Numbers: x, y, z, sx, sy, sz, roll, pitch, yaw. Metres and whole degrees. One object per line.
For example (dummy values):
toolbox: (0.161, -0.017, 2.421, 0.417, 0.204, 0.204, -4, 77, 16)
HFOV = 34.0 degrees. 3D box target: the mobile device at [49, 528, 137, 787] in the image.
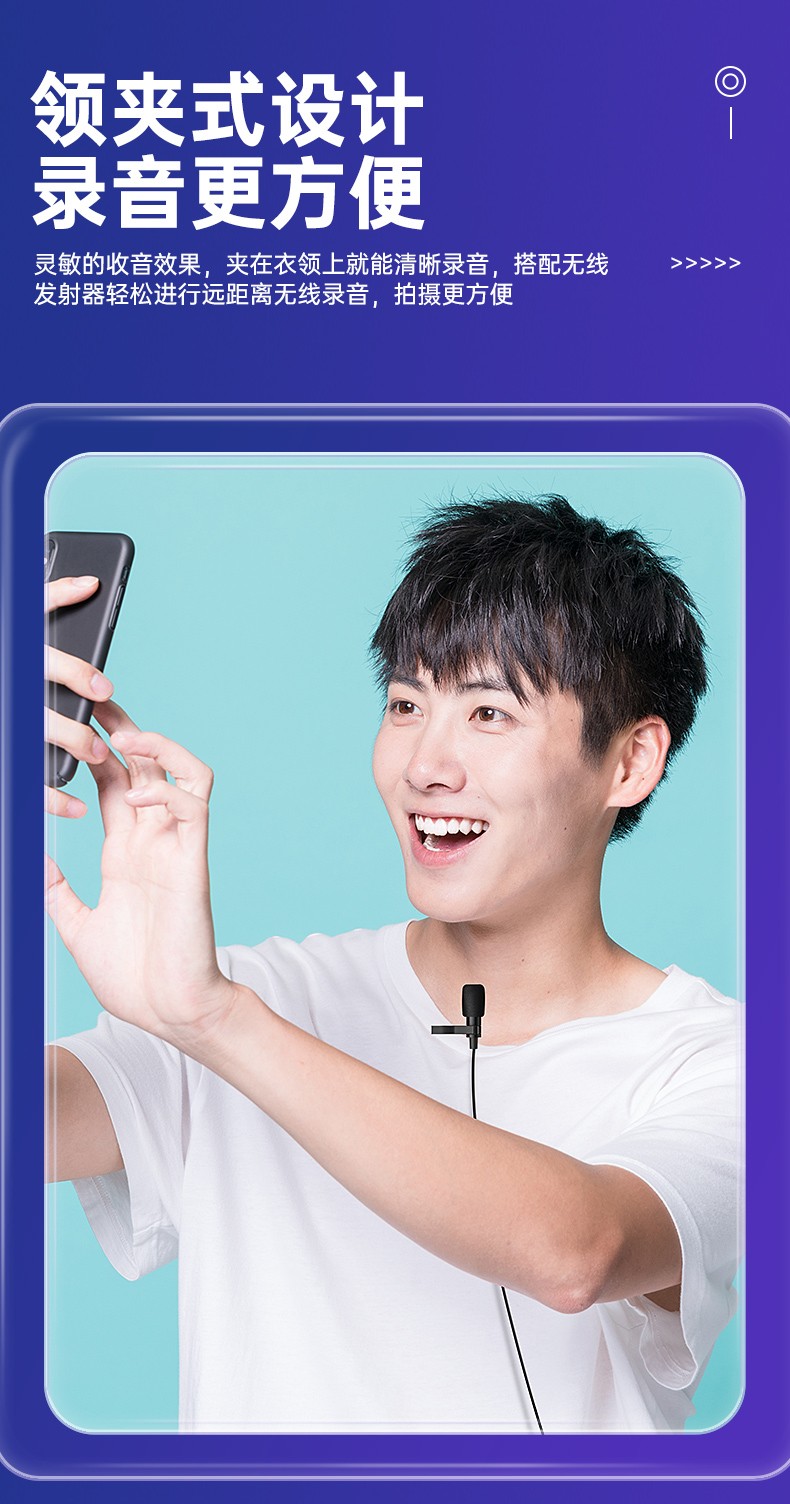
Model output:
mobile device: (-0.420, -0.111, 1.766, 0.127, 0.322, 0.279, -2, 35, -11)
